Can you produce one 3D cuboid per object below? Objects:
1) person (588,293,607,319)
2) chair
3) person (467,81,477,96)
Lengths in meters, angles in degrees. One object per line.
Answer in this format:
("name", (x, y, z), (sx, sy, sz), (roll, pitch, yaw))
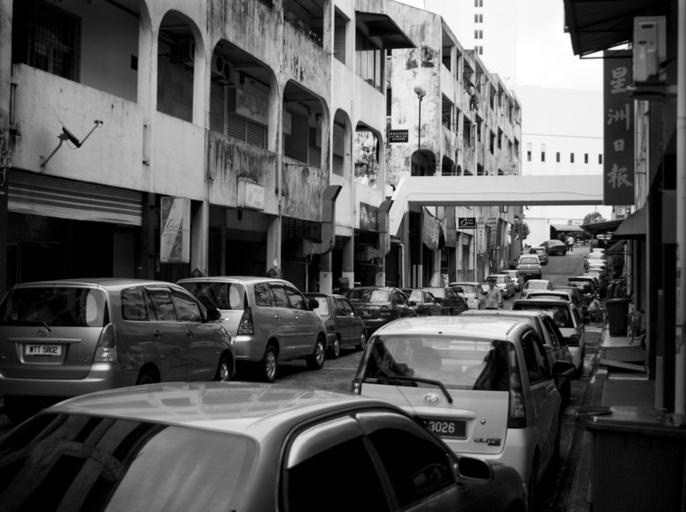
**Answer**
("person", (13.376, 2.588, 37.084), (0.814, 1.482, 2.286), (1, 10, 20))
("chair", (1.108, 1.035, 6.759), (0.938, 0.407, 0.340), (4, 1, 14))
("person", (10.739, -13.847, 58.738), (0.565, 1.082, 2.262), (3, 1, 17))
